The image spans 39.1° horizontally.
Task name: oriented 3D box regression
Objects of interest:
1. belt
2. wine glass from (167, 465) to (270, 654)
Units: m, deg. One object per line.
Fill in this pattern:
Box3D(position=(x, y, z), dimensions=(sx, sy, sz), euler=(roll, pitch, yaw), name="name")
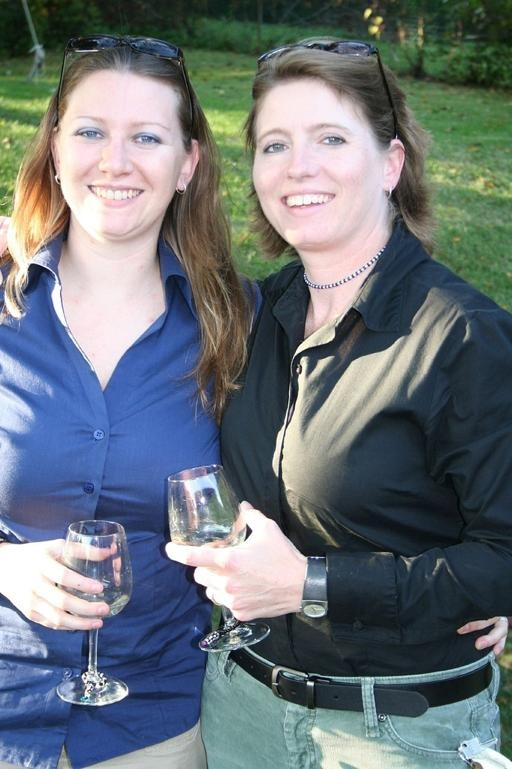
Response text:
Box3D(position=(0.266, 0.862, 2.107), dimensions=(0.795, 0.192, 0.217), euler=(6, 21, 16), name="belt")
Box3D(position=(-0.117, 0.541, 2.121), dimensions=(0.296, 0.723, 0.334), euler=(-9, 23, -23), name="wine glass")
